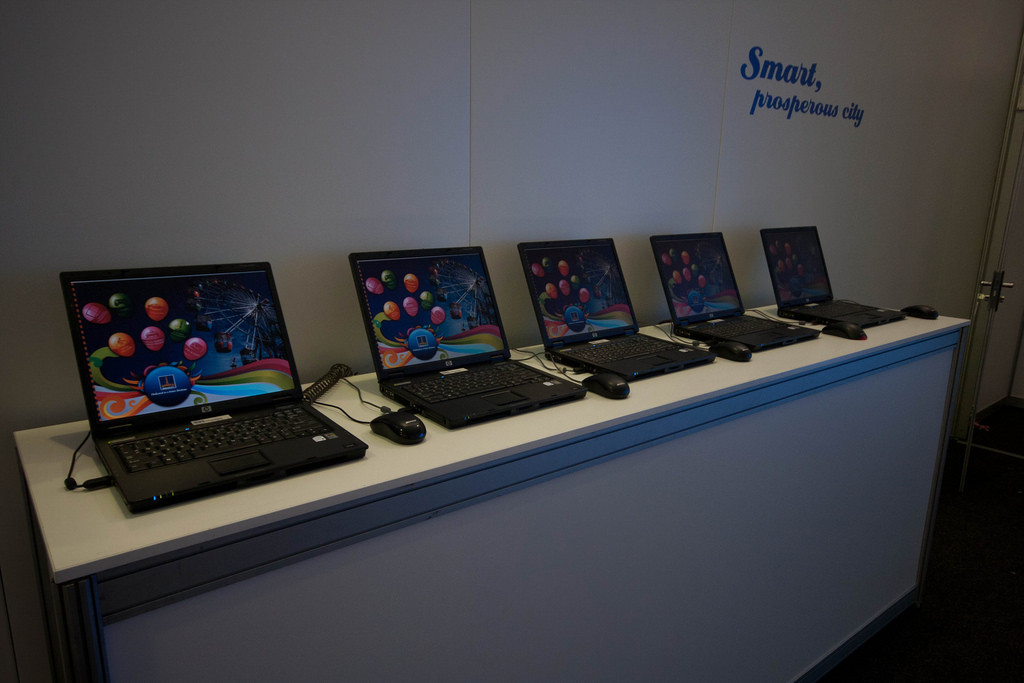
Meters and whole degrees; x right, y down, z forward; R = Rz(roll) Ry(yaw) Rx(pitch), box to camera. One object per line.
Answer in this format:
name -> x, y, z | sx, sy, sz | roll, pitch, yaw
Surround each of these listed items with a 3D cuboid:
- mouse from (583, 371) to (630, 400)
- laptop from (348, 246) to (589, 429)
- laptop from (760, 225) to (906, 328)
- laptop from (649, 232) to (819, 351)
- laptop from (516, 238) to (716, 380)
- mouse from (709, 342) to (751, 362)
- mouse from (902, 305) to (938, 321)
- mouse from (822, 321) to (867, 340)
mouse -> 0.268, 0.123, 1.829 | 0.062, 0.039, 0.106 | -10, 13, -38
laptop -> -0.159, -0.029, 1.875 | 0.516, 0.430, 0.576 | -10, 23, -39
laptop -> 1.250, -0.283, 2.700 | 0.499, 0.365, 0.502 | -11, 20, -37
laptop -> 0.767, -0.188, 2.408 | 0.431, 0.371, 0.542 | -13, 19, -32
laptop -> 0.300, -0.115, 2.119 | 0.476, 0.383, 0.536 | -11, 21, -36
mouse -> 0.719, 0.033, 2.128 | 0.063, 0.038, 0.114 | -15, 19, -35
mouse -> 1.707, -0.120, 2.735 | 0.073, 0.048, 0.133 | -8, 18, -27
mouse -> 1.228, -0.052, 2.376 | 0.070, 0.038, 0.113 | -15, 22, -35
